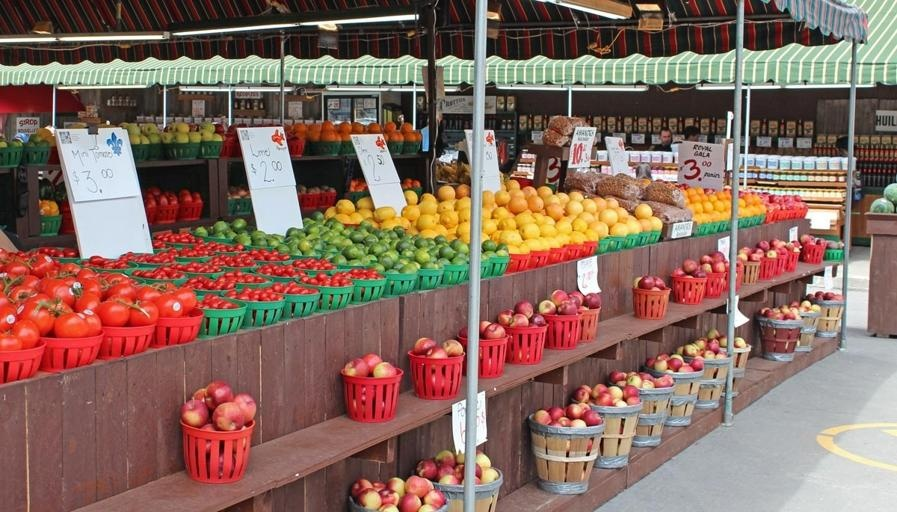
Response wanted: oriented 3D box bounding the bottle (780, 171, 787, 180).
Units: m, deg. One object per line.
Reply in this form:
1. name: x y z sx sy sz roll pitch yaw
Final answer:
1. bottle: 6.727 -1.648 14.664 0.135 0.087 0.137 -1 -4 0

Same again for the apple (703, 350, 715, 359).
1. apple: 2.386 0.898 6.678 0.073 0.078 0.076 -4 -1 45

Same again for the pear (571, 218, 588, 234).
1. pear: 1.034 -0.247 5.798 0.104 0.105 0.108 -17 30 27

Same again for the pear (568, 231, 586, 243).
1. pear: 0.995 -0.147 5.674 0.108 0.080 0.185 1 14 18

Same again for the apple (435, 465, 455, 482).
1. apple: -0.025 1.349 4.535 0.079 0.084 0.095 18 -1 -8

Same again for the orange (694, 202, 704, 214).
1. orange: 2.426 -0.480 7.083 0.110 0.099 0.096 9 4 -27

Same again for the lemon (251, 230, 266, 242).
1. lemon: -1.299 -0.138 4.970 0.089 0.069 0.064 -24 16 -37

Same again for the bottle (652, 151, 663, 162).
1. bottle: 4.300 -2.098 15.154 0.215 0.206 0.218 0 4 -6

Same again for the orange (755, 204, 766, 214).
1. orange: 3.362 -0.517 7.887 0.117 0.053 0.124 -10 15 -22

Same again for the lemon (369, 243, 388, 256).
1. lemon: -0.451 -0.047 4.739 0.075 0.055 0.097 6 8 36

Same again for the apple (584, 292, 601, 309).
1. apple: 1.053 0.326 5.372 0.116 0.111 0.207 -4 14 -3

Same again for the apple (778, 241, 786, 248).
1. apple: 3.638 -0.135 7.980 0.055 0.052 0.056 -18 8 2

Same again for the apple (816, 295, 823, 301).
1. apple: 4.306 0.474 8.465 0.059 0.057 0.069 1 14 19

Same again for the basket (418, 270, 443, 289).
1. basket: -0.116 0.137 4.650 0.129 0.081 0.131 0 1 44

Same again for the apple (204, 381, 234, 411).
1. apple: -1.129 0.681 3.642 0.134 0.147 0.145 -20 -15 6

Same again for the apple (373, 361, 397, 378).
1. apple: -0.369 0.649 4.131 0.106 0.089 0.091 -12 54 -16

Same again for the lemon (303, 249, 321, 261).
1. lemon: -0.880 -0.022 4.736 0.094 0.040 0.134 -14 17 -38

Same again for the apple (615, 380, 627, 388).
1. apple: 1.340 0.993 5.669 0.043 0.044 0.051 5 -6 -21

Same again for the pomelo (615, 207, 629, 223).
1. pomelo: 1.458 -0.352 6.172 0.081 0.082 0.096 -40 34 -19

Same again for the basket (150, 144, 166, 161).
1. basket: -2.397 -0.867 5.996 0.103 0.092 0.114 0 -1 -23

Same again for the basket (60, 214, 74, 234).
1. basket: -2.908 -0.251 5.550 0.077 0.139 0.073 -14 17 -40

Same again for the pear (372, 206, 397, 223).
1. pear: -0.494 -0.328 5.645 0.144 0.107 0.108 -8 26 -8

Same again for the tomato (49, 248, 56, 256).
1. tomato: -2.444 -0.030 4.490 0.032 0.037 0.075 -9 15 -25

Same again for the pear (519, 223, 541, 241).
1. pear: 0.610 -0.190 5.486 0.131 0.102 0.099 -1 17 -9

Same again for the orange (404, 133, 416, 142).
1. orange: -0.395 -1.225 7.424 0.096 0.100 0.095 1 -35 0

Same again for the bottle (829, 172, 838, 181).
1. bottle: 7.565 -1.579 14.318 0.228 0.165 0.105 4 15 28

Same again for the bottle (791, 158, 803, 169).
1. bottle: 6.923 -1.863 14.507 0.201 0.229 0.199 -6 11 -39

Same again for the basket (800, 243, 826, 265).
1. basket: 4.259 -0.032 8.551 0.246 0.258 0.239 2 14 22

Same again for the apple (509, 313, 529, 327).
1. apple: 0.467 0.432 4.864 0.090 0.081 0.105 17 45 -7

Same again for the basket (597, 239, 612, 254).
1. basket: 1.273 -0.086 5.974 0.124 0.087 0.126 -1 0 -5

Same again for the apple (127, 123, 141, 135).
1. apple: -2.557 -1.037 5.928 0.110 0.089 0.281 -9 15 -22

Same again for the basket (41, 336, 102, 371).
1. basket: -1.744 0.445 3.393 0.249 0.118 0.256 -9 -9 8

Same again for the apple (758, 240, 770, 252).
1. apple: 3.374 -0.118 7.795 0.118 0.121 0.119 -11 8 12

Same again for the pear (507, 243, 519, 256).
1. pear: 0.460 -0.055 5.218 0.076 0.088 0.072 -29 11 -27

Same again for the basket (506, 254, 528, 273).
1. basket: 0.483 0.044 5.192 0.136 0.091 0.138 1 2 27

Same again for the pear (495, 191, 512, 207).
1. pear: 0.435 -0.498 6.026 0.113 0.133 0.115 19 21 -6

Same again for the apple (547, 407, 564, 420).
1. apple: 0.770 1.132 5.269 0.076 0.096 0.082 -8 35 -43

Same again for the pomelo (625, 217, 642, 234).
1. pomelo: 1.555 -0.260 6.188 0.093 0.114 0.189 5 16 31

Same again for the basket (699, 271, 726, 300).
1. basket: 2.455 0.272 6.721 0.236 0.187 0.242 1 10 5

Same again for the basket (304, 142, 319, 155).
1. basket: -1.303 -1.031 6.908 0.123 0.119 0.123 -3 7 -24

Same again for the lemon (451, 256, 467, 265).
1. lemon: 0.071 0.022 4.750 0.077 0.058 0.062 -5 43 -13

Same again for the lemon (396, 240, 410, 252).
1. lemon: -0.301 -0.070 4.796 0.068 0.070 0.073 28 2 0

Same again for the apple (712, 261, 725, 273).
1. apple: 2.489 0.094 6.712 0.095 0.098 0.091 -2 2 16

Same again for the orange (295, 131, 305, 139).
1. orange: -1.400 -1.145 6.830 0.073 0.065 0.146 4 16 29

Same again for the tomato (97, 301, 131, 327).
1. tomato: -1.573 0.268 3.480 0.120 0.120 0.119 22 5 25

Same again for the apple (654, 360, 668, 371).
1. apple: 1.809 0.927 6.193 0.085 0.090 0.087 3 -8 11

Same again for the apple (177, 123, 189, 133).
1. apple: -2.199 -1.070 6.069 0.083 0.082 0.080 10 40 37

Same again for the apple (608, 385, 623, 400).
1. apple: 1.266 1.037 5.516 0.088 0.090 0.126 7 17 36

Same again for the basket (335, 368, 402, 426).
1. basket: -0.474 0.807 4.285 0.425 0.289 0.443 -2 -15 13

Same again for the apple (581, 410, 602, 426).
1. apple: 1.021 1.155 5.251 0.102 0.125 0.103 33 -20 12

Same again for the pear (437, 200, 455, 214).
1. pear: -0.025 -0.402 5.682 0.114 0.092 0.100 -32 -13 -13
